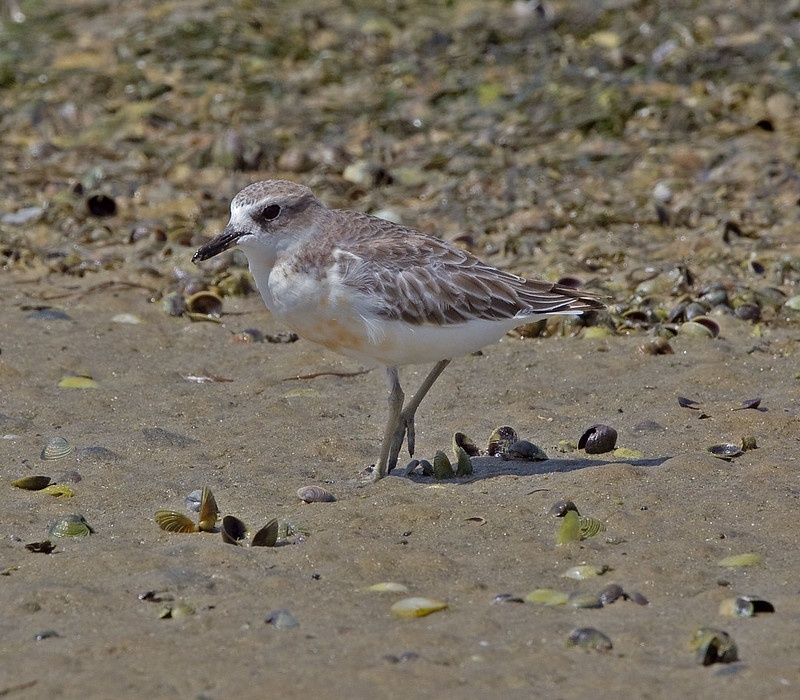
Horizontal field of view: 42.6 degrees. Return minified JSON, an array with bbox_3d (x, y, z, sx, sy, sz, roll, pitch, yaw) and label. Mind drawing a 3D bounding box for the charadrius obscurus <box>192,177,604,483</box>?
[{"bbox_3d":[-0.053,-0.246,4.955,2.160,1.030,0.745,-1,25,-23],"label":"charadrius obscurus"}]
